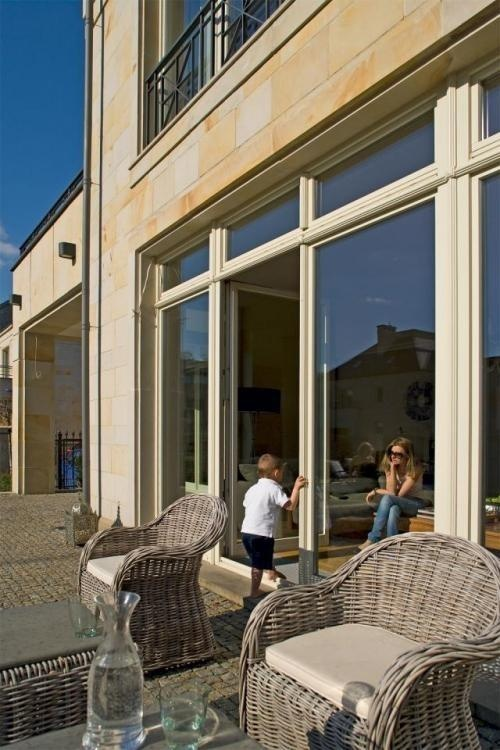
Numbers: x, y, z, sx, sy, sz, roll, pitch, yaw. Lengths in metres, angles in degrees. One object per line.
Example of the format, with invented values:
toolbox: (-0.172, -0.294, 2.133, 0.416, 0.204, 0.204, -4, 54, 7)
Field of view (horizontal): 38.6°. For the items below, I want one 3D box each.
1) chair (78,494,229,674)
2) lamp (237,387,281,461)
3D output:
chair: (-0.472, 0.928, 3.333, 0.598, 0.745, 0.606, 4, -5, -41)
lamp: (0.051, 0.384, 5.905, 0.473, 0.829, 0.493, 0, -4, -3)
